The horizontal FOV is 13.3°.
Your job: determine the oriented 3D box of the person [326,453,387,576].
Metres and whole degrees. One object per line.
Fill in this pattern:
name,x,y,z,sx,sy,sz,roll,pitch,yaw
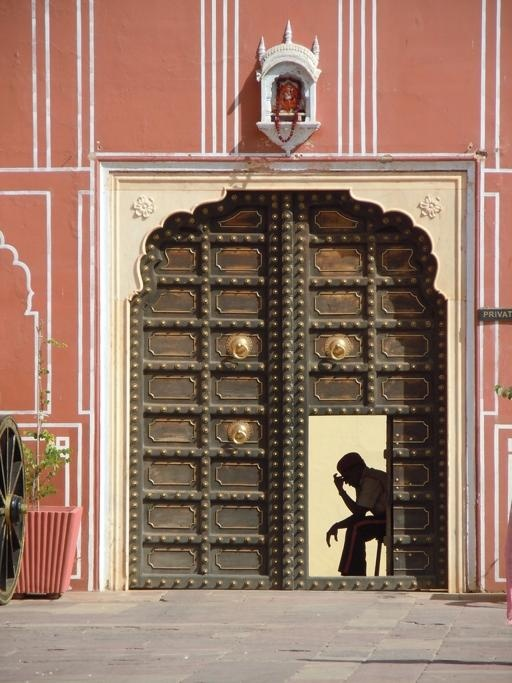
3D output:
person,0.667,1.152,14.652,0.405,0.800,0.200,-2,-13,7

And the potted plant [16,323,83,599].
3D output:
potted plant,-1.338,0.757,14.205,0.407,1.811,0.499,1,-13,-5
